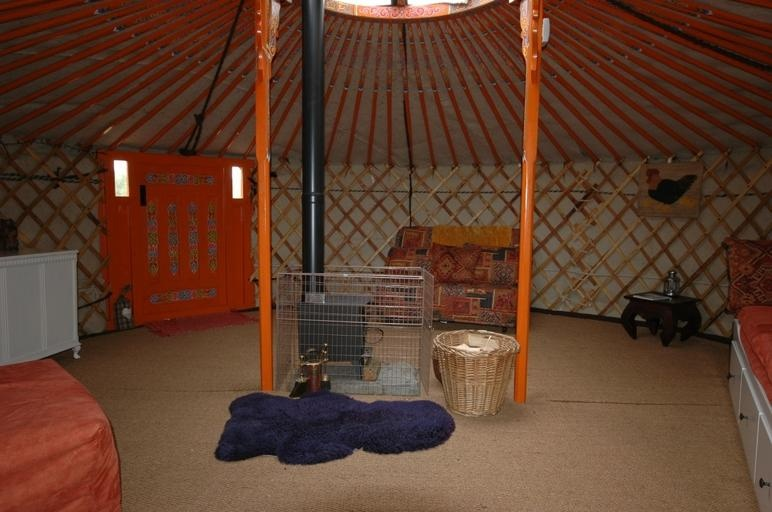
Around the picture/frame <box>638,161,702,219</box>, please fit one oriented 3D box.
[{"bbox_3d":[2.753,-0.629,5.774,0.518,0.531,0.062,6,4,34],"label":"picture/frame"}]

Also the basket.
[{"bbox_3d":[0.626,0.801,4.306,0.551,0.416,0.552,1,-1,1],"label":"basket"}]

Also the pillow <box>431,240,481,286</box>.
[{"bbox_3d":[0.701,0.088,6.229,0.420,0.400,0.139,-1,-17,13],"label":"pillow"}]

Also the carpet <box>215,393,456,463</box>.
[{"bbox_3d":[-0.337,1.108,3.939,1.512,0.274,0.614,1,3,-1],"label":"carpet"}]

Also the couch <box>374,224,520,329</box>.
[{"bbox_3d":[0.693,0.338,6.318,1.382,1.017,0.818,3,-9,11],"label":"couch"}]

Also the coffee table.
[{"bbox_3d":[2.499,0.618,5.678,0.632,0.415,0.625,8,-1,-1],"label":"coffee table"}]

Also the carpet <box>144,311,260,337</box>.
[{"bbox_3d":[-1.814,0.672,6.005,1.055,0.100,0.503,-2,4,-37],"label":"carpet"}]
